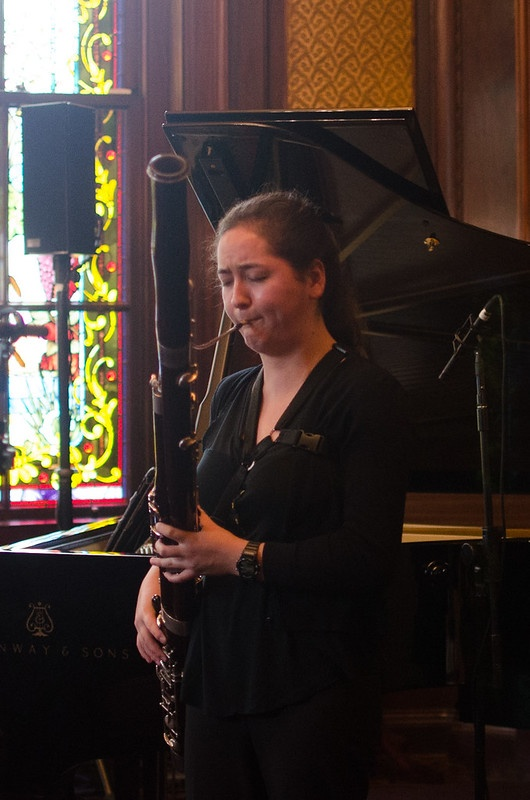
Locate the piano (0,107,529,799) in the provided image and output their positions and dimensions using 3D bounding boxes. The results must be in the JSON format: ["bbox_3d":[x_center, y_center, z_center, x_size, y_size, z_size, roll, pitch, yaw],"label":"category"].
[{"bbox_3d":[-0.079,0.266,2.092,1.484,1.420,0.823,2,-8,5],"label":"piano"}]

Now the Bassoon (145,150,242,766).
[{"bbox_3d":[-0.116,0.141,1.400,0.130,0.960,0.380,0,2,-6],"label":"Bassoon"}]
